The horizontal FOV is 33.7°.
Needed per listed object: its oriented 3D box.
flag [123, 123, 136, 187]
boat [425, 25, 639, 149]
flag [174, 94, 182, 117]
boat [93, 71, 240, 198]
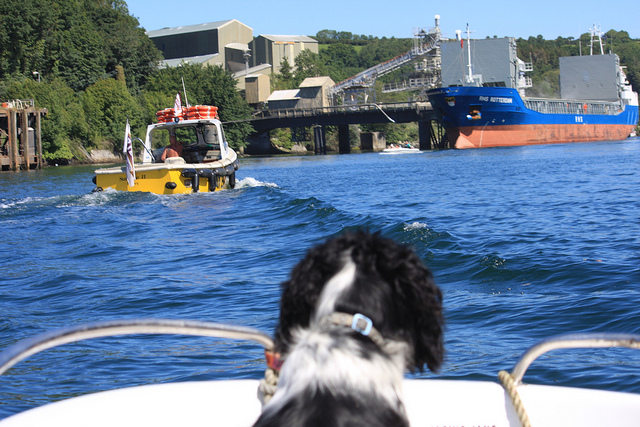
[{"bbox_3d":[-8.144,-2.549,44.838,0.403,2.713,2.801,-4,5,-10],"label":"flag"},{"bbox_3d":[19.190,-9.338,86.021,5.244,7.424,32.953,1,6,39],"label":"boat"},{"bbox_3d":[-6.356,-4.854,46.761,0.342,0.991,0.856,-4,5,-7],"label":"flag"},{"bbox_3d":[-6.592,-3.080,46.494,3.983,4.293,5.711,-1,6,23],"label":"boat"}]
